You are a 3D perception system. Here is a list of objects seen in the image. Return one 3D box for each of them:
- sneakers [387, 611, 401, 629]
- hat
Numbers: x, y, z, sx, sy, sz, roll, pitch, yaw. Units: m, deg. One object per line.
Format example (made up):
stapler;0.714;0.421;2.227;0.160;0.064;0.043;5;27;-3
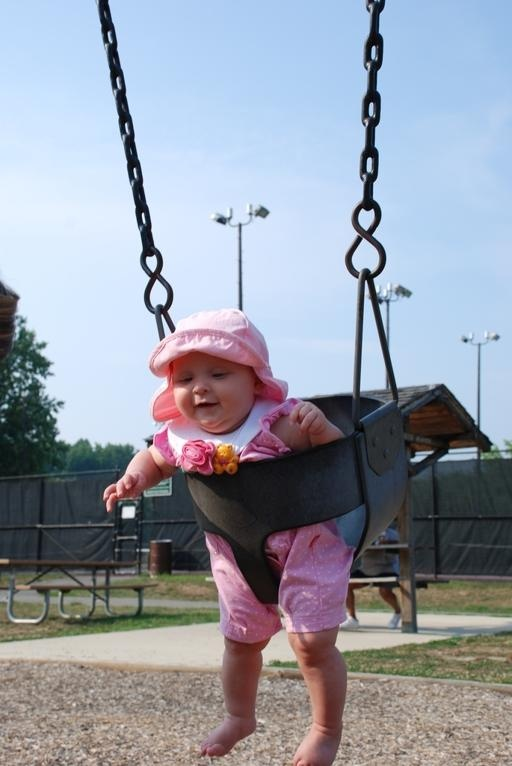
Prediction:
sneakers;1.033;1.766;9.869;0.057;0.070;0.163;1;29;17
hat;-0.140;-0.032;4.338;0.355;0.259;0.431;0;-29;-6
